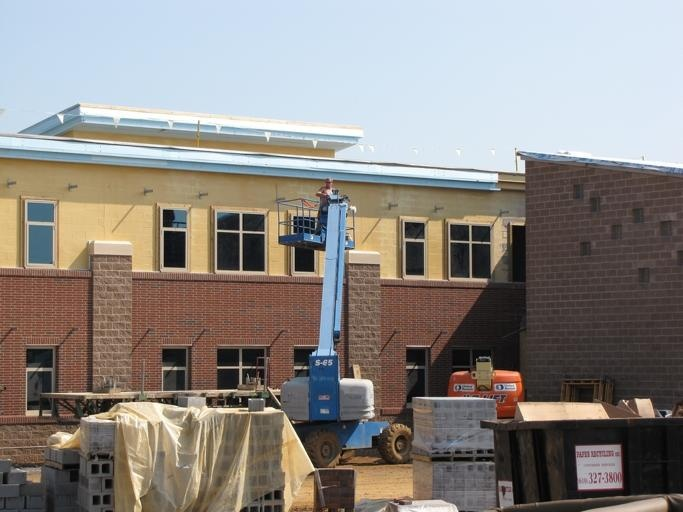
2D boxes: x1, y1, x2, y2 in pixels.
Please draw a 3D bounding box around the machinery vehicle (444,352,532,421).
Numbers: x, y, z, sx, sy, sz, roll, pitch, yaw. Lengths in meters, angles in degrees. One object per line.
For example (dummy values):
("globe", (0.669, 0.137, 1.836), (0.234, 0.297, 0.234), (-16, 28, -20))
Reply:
("machinery vehicle", (4.435, 4.099, 57.205), (2.963, 1.796, 2.947), (4, -9, -23))
